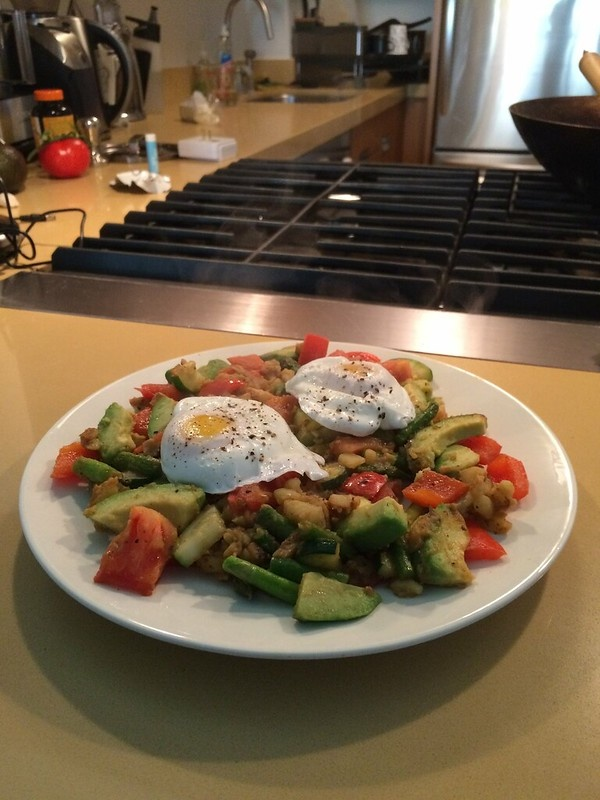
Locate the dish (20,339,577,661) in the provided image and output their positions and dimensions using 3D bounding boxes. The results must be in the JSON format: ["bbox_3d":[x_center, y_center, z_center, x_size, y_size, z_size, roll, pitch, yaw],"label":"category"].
[{"bbox_3d":[0.004,0.064,0.619,0.506,0.045,0.444,-7,31,-12],"label":"dish"}]

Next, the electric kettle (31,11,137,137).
[{"bbox_3d":[-0.765,-1.126,2.255,0.369,0.317,0.243,-3,36,-8],"label":"electric kettle"}]

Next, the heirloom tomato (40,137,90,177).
[{"bbox_3d":[-0.693,-0.711,1.946,0.147,0.114,0.128,-1,22,-4],"label":"heirloom tomato"}]
